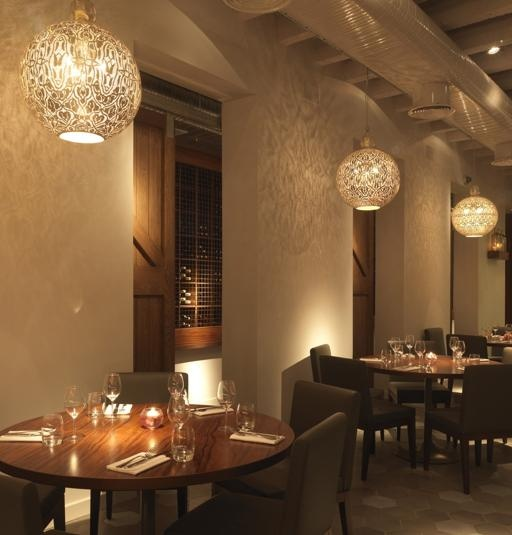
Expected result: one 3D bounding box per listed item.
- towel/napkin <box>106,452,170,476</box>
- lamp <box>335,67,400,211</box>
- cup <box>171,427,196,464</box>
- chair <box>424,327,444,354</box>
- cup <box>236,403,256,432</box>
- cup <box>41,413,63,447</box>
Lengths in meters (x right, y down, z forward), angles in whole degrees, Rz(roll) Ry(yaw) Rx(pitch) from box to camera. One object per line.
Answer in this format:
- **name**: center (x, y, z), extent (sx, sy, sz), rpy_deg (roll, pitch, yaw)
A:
- **towel/napkin**: center (-0.416, 0.702, 1.828), extent (0.147, 0.016, 0.210), rpy_deg (0, -2, 33)
- **lamp**: center (1.017, -1.282, 4.883), extent (0.529, 1.539, 1.122), rpy_deg (1, -1, 3)
- **cup**: center (-0.277, 0.678, 1.930), extent (0.070, 0.108, 0.094), rpy_deg (1, -7, -5)
- **chair**: center (2.133, 0.883, 6.087), extent (0.185, 0.266, 0.408), rpy_deg (2, -12, -6)
- **cup**: center (-0.044, 0.662, 2.312), extent (0.085, 0.177, 0.102), rpy_deg (-1, -1, -17)
- **cup**: center (-0.826, 0.661, 2.081), extent (0.082, 0.174, 0.100), rpy_deg (-1, -1, -23)
